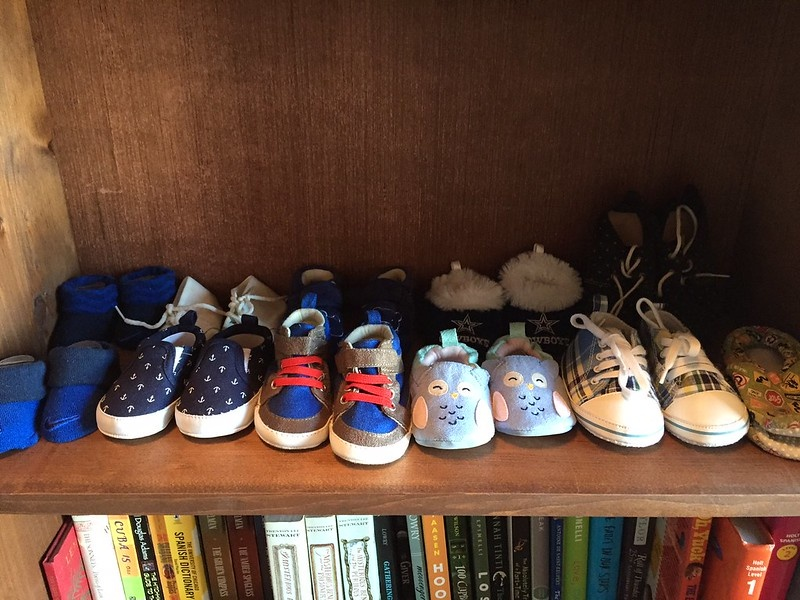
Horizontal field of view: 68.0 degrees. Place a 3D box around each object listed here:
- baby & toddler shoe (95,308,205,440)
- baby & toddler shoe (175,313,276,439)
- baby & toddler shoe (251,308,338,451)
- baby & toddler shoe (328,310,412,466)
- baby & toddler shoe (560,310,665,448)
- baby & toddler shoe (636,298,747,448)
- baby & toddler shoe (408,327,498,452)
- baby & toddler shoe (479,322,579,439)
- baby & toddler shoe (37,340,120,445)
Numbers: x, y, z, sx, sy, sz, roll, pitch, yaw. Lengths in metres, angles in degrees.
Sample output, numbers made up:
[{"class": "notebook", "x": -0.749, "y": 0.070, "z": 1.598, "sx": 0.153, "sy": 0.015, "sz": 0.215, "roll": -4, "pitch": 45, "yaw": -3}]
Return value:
[{"class": "baby & toddler shoe", "x": -0.448, "y": 0.135, "z": 1.082, "sx": 0.121, "sy": 0.110, "sz": 0.275, "roll": 12, "pitch": 27, "yaw": 0}, {"class": "baby & toddler shoe", "x": -0.316, "y": 0.133, "z": 1.091, "sx": 0.134, "sy": 0.113, "sz": 0.286, "roll": 5, "pitch": 25, "yaw": 4}, {"class": "baby & toddler shoe", "x": -0.178, "y": 0.130, "z": 1.021, "sx": 0.098, "sy": 0.104, "sz": 0.246, "roll": 3, "pitch": 33, "yaw": -3}, {"class": "baby & toddler shoe", "x": -0.052, "y": 0.145, "z": 1.004, "sx": 0.099, "sy": 0.109, "sz": 0.266, "roll": 0, "pitch": 30, "yaw": -1}, {"class": "baby & toddler shoe", "x": 0.363, "y": 0.133, "z": 1.067, "sx": 0.103, "sy": 0.113, "sz": 0.278, "roll": -4, "pitch": 18, "yaw": 1}, {"class": "baby & toddler shoe", "x": 0.529, "y": 0.129, "z": 1.094, "sx": 0.134, "sy": 0.138, "sz": 0.364, "roll": 0, "pitch": 16, "yaw": 6}, {"class": "baby & toddler shoe", "x": 0.083, "y": 0.162, "z": 1.060, "sx": 0.136, "sy": 0.111, "sz": 0.278, "roll": -1, "pitch": 23, "yaw": 0}, {"class": "baby & toddler shoe", "x": 0.225, "y": 0.149, "z": 1.071, "sx": 0.137, "sy": 0.103, "sz": 0.253, "roll": -6, "pitch": 28, "yaw": 5}, {"class": "baby & toddler shoe", "x": -0.556, "y": 0.159, "z": 1.027, "sx": 0.075, "sy": 0.087, "sz": 0.189, "roll": 2, "pitch": 25, "yaw": -3}]
